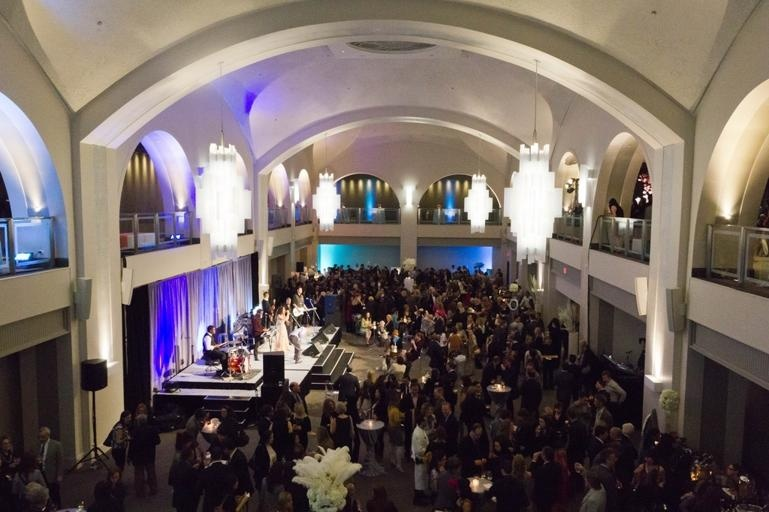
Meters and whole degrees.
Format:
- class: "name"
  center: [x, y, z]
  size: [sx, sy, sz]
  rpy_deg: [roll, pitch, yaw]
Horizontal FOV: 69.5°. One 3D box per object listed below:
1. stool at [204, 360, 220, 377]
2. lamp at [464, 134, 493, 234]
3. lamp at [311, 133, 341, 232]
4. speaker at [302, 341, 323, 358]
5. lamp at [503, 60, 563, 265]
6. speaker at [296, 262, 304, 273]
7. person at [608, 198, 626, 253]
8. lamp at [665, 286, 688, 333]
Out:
- class: "stool"
  center: [-4.506, 2.954, 14.577]
  size: [0.375, 0.462, 0.401]
  rpy_deg: [0, -6, 4]
- class: "lamp"
  center: [3.080, -1.792, 18.202]
  size: [0.784, 1.976, 2.525]
  rpy_deg: [1, 2, 8]
- class: "lamp"
  center: [-2.140, -2.090, 20.865]
  size: [0.931, 2.164, 2.176]
  rpy_deg: [1, 2, -7]
- class: "speaker"
  center: [-2.091, 2.816, 16.456]
  size: [0.395, 0.123, 0.431]
  rpy_deg: [-40, 29, 16]
- class: "lamp"
  center: [2.728, -1.016, 10.221]
  size: [0.983, 2.256, 0.671]
  rpy_deg: [1, 2, 0]
- class: "speaker"
  center: [-3.975, 0.547, 26.294]
  size: [0.391, 0.632, 0.418]
  rpy_deg: [-1, 2, 3]
- class: "person"
  center: [5.587, -0.777, 13.405]
  size: [0.285, 1.237, 0.996]
  rpy_deg: [2, 2, 22]
- class: "lamp"
  center: [5.460, 1.035, 10.397]
  size: [0.337, 0.864, 0.167]
  rpy_deg: [1, 2, -1]
